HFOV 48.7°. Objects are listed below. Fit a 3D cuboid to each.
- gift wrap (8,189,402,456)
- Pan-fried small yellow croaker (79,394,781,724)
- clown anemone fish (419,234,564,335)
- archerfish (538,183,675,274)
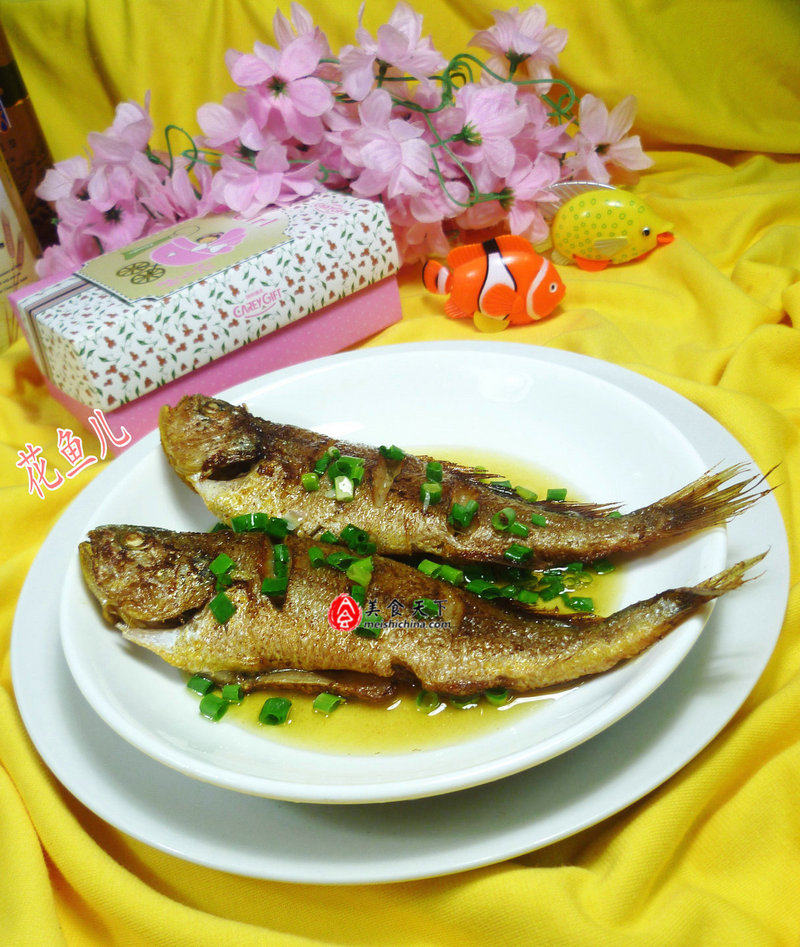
[{"bbox_3d":[-0.578,-0.440,2.778,1.128,0.359,0.579,-35,24,-35],"label":"gift wrap"},{"bbox_3d":[0.051,0.189,1.830,1.224,0.180,0.610,3,35,11],"label":"Pan-fried small yellow croaker"},{"bbox_3d":[0.303,-0.592,2.773,0.510,0.287,0.151,9,36,19],"label":"clown anemone fish"},{"bbox_3d":[0.608,-0.855,3.037,0.617,0.312,0.139,3,42,24],"label":"archerfish"}]
